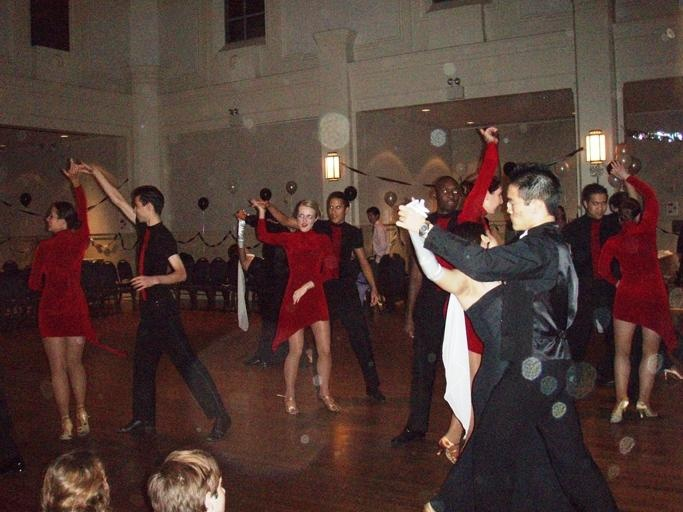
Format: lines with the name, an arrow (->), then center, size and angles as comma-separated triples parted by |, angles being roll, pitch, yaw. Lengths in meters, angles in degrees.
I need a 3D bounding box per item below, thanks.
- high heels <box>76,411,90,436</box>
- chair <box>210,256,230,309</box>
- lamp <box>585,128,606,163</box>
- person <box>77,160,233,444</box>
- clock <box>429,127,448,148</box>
high heels -> -2.392, 1.507, 4.917 | 0.097, 0.117, 0.298 | 2, 40, -30
chair -> -2.813, 0.595, 12.233 | 0.561, 0.979, 0.611 | 7, 26, -7
lamp -> 4.737, -2.010, 9.910 | 0.353, 0.635, 0.358 | -4, 6, -6
person -> -1.634, 0.424, 4.767 | 0.945, 2.480, 0.903 | -3, 4, -30
clock -> 2.875, -3.553, 15.951 | 0.540, 0.565, 0.137 | 0, 10, -33
